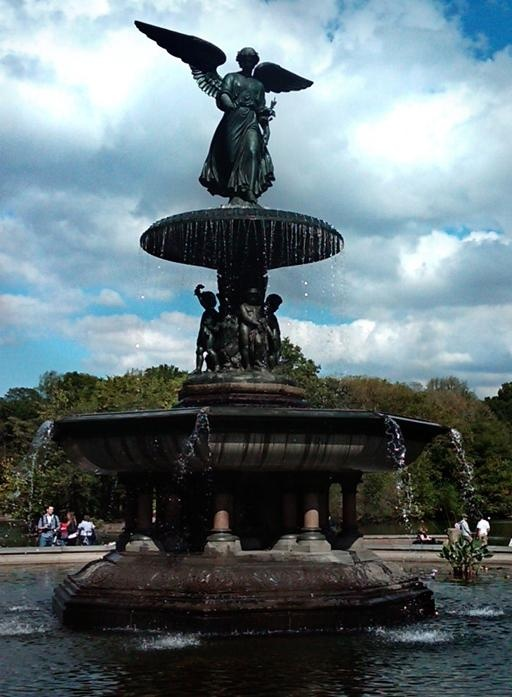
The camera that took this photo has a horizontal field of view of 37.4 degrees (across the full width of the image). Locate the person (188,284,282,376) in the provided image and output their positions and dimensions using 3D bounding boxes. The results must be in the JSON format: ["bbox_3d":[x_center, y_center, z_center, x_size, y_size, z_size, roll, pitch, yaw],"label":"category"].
[{"bbox_3d":[-0.226,-0.177,10.611,1.469,1.355,0.452,0,-33,0],"label":"person"}]

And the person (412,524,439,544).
[{"bbox_3d":[4.629,5.078,20.666,0.665,0.502,1.671,-2,-9,12],"label":"person"}]
